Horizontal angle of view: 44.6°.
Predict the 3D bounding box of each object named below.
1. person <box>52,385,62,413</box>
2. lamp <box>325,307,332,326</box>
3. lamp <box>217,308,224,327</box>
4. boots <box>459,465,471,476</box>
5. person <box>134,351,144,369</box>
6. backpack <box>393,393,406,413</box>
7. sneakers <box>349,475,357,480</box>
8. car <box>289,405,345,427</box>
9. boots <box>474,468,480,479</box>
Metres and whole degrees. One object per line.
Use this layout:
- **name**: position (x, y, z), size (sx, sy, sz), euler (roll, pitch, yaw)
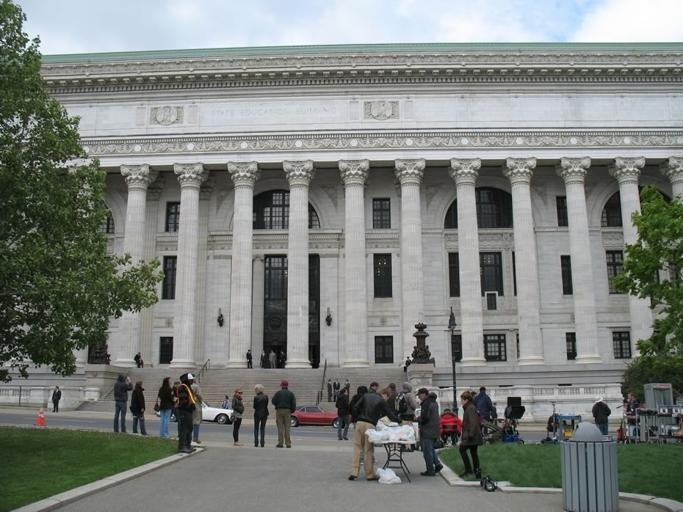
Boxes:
- **person**: position (-15.281, 7.661, 44.626), size (0.413, 1.407, 2.330), euler (3, -11, -18)
- **lamp**: position (-0.844, 4.100, 56.176), size (0.419, 1.245, 0.394), euler (-8, -13, 33)
- **lamp**: position (-8.162, 4.142, 56.188), size (0.545, 1.336, 0.311), euler (-6, -12, 25)
- **boots**: position (3.719, 6.473, 24.875), size (0.325, 0.258, 0.698), euler (-2, -11, 7)
- **person**: position (-12.891, 6.578, 52.835), size (0.539, 1.036, 1.129), euler (1, -11, -9)
- **backpack**: position (2.123, 5.335, 30.142), size (0.379, 0.680, 0.503), euler (16, 28, 7)
- **sneakers**: position (0.348, 6.512, 24.459), size (0.281, 0.164, 0.290), euler (1, -11, -10)
- **car**: position (-1.428, 8.188, 42.573), size (2.127, 0.615, 0.984), euler (0, -1, 1)
- **boots**: position (4.011, 6.413, 24.397), size (0.212, 0.258, 0.323), euler (-2, -11, 8)
